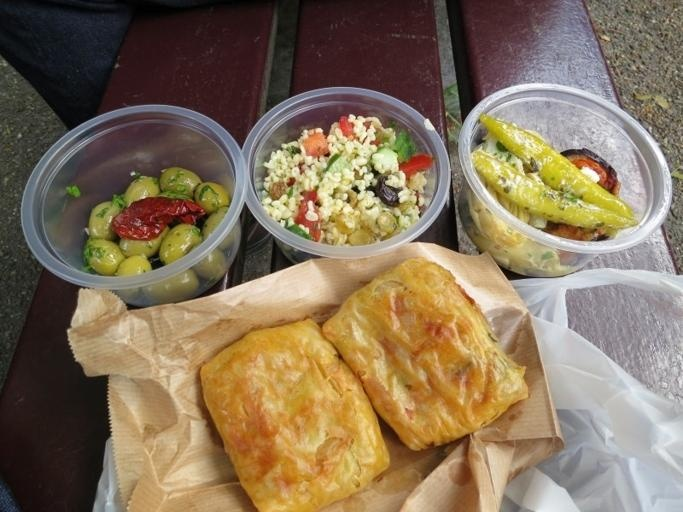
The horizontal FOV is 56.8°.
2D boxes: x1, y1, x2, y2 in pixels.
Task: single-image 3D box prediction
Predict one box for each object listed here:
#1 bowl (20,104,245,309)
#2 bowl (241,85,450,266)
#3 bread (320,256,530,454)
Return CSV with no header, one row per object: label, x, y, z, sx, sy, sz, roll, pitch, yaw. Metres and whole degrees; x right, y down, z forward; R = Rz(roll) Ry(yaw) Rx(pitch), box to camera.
bowl,-0.592,-0.178,1.880,0.628,0.230,0.595,0,82,0
bowl,0.017,-0.261,1.930,0.612,0.218,0.577,0,82,0
bread,0.239,0.309,1.811,0.497,0.184,0.592,-34,59,-25
